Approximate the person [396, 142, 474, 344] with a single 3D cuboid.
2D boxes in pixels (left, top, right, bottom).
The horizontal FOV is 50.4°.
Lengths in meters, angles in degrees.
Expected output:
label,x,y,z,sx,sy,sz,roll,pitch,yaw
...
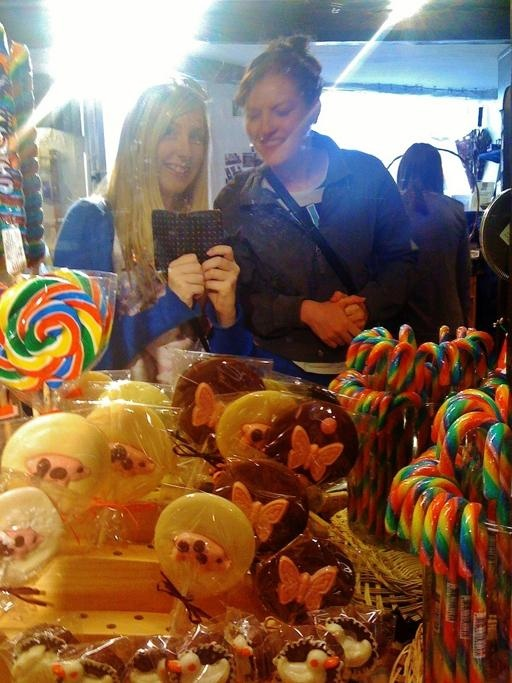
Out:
label,x,y,z,sx,sy,sz,roll,pitch,yaw
person,0.640,-0.310,1.940,0.244,0.891,0.221,4,51,22
